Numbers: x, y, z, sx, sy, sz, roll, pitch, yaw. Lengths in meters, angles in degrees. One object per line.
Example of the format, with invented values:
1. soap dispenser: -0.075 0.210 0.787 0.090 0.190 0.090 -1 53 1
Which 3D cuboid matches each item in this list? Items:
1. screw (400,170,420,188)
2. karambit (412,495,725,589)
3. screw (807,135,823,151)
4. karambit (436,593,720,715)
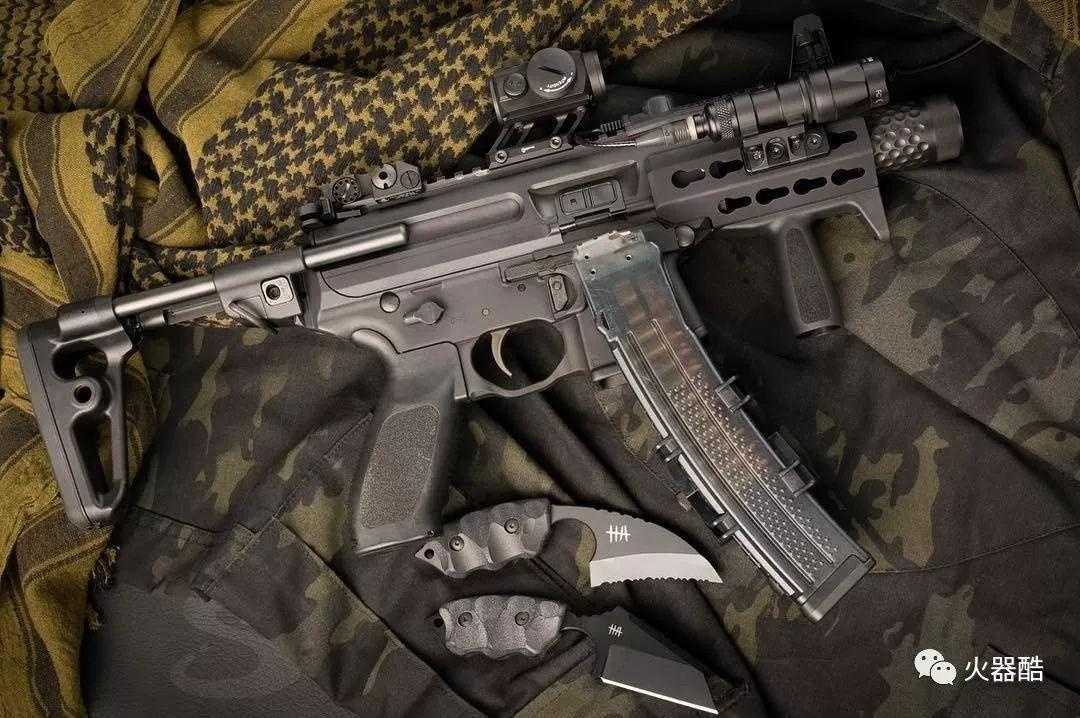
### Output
1. screw: -0.514 -0.704 4.130 0.060 0.075 0.016 1 1 6
2. karambit: 0.132 0.725 4.122 1.193 0.347 0.138 5 -22 -9
3. screw: 1.073 -0.844 4.067 0.050 0.062 0.021 2 0 7
4. karambit: 0.133 1.156 4.009 1.001 0.637 0.194 -16 10 8
